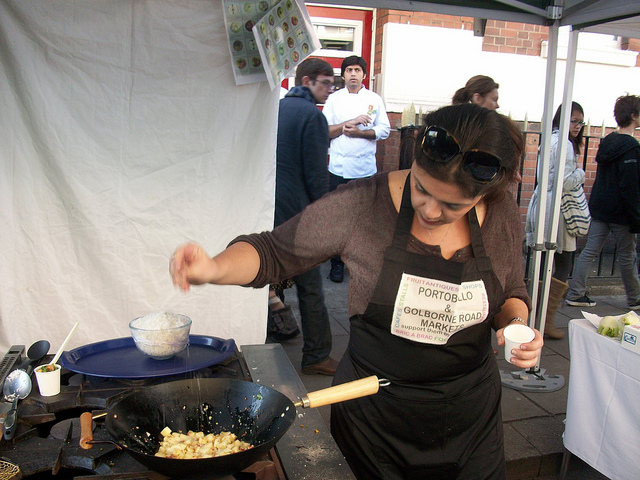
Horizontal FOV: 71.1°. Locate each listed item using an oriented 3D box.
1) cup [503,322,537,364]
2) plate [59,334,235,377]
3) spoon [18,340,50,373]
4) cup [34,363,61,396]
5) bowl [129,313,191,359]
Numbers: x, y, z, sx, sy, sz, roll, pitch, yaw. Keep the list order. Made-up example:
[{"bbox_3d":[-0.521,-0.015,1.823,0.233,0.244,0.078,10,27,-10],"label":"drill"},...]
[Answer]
[{"bbox_3d":[0.773,0.392,1.748,0.131,0.106,0.124,2,21,-1],"label":"cup"},{"bbox_3d":[-0.777,0.530,2.090,0.738,0.048,0.669,3,-15,-35],"label":"plate"},{"bbox_3d":[-1.146,0.450,1.812,0.058,0.028,0.177,-3,25,4],"label":"spoon"},{"bbox_3d":[-0.960,0.494,1.604,0.096,0.079,0.092,1,0,0],"label":"cup"},{"bbox_3d":[-0.661,0.395,1.858,0.251,0.175,0.250,1,4,0],"label":"bowl"}]
